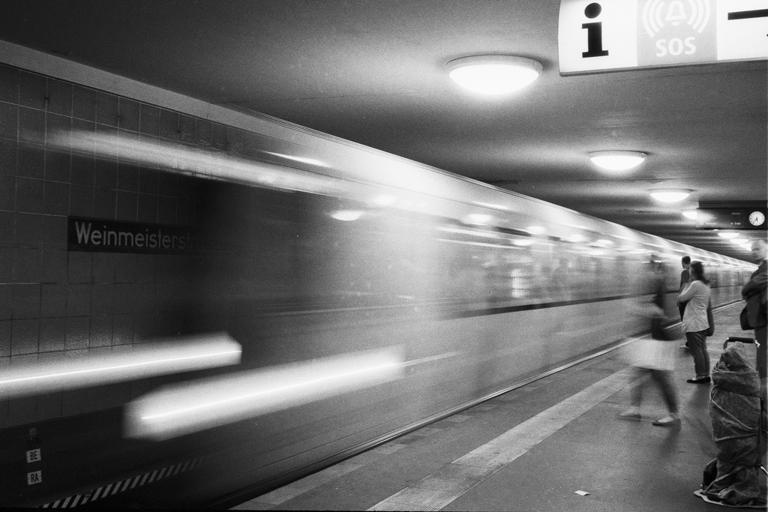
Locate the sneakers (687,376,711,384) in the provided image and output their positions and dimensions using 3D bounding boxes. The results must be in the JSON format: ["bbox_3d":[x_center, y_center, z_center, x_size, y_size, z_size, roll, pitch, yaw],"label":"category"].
[{"bbox_3d":[5.842,2.323,9.740,0.460,0.154,0.150,2,-1,17],"label":"sneakers"}]
